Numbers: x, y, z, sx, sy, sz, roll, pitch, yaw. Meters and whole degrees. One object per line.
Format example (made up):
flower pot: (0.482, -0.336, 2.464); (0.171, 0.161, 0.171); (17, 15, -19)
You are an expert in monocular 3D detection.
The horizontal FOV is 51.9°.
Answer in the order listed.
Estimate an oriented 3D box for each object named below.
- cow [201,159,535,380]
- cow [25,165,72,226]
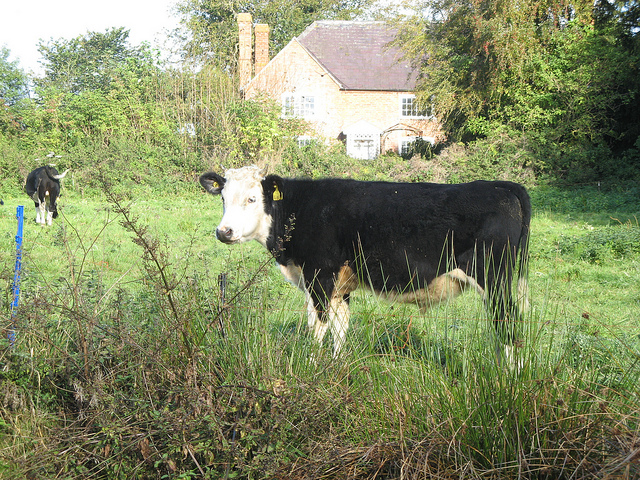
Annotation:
cow: (0.053, 0.103, 7.252); (4.260, 2.862, 1.509); (4, 3, 23)
cow: (-7.368, -1.241, 17.640); (0.699, 1.456, 2.401); (-4, 9, -41)
